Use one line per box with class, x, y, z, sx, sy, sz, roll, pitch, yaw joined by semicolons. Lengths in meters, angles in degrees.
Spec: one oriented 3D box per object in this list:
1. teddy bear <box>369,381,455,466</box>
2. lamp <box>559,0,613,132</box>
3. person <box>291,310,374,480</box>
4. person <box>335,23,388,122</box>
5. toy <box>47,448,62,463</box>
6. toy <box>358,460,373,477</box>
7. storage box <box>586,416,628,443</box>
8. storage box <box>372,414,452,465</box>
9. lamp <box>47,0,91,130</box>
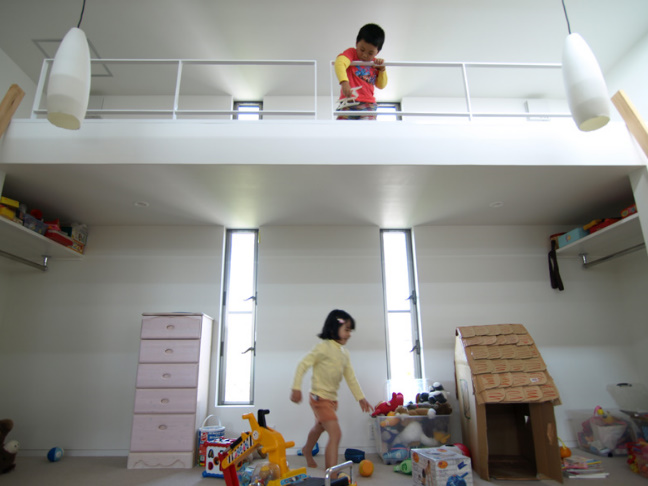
teddy bear;0.921;1.845;4.636;0.680;0.467;0.713;-2;-2;-7
lamp;1.879;-1.200;3.275;0.248;0.750;0.250;-12;-23;29
person;0.058;1.334;4.201;0.695;1.446;0.630;-1;-20;2
person;0.363;-1.668;4.481;0.492;1.140;0.567;-3;-20;6
toy;-2.819;2.213;4.688;0.130;0.116;0.129;1;2;0
toy;0.386;2.088;4.167;0.127;0.158;0.128;-6;-13;10
storage box;2.904;1.903;4.660;0.240;0.160;0.254;-1;-4;5
storage box;0.864;1.938;4.567;0.522;0.360;0.557;0;-3;-8
lamp;-1.793;-1.292;3.243;0.250;0.951;0.301;10;-22;-27
